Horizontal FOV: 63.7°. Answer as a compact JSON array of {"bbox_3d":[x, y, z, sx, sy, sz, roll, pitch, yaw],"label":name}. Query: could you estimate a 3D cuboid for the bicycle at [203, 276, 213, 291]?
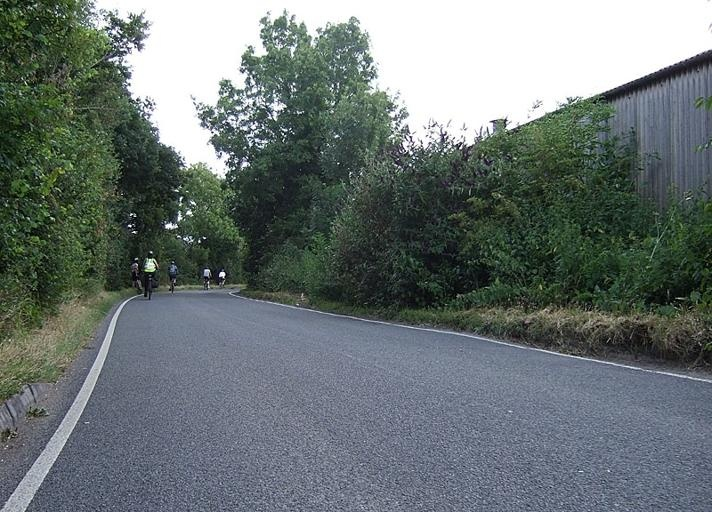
[{"bbox_3d":[-14.279,2.637,55.191,1.089,1.479,2.172,1,2,-10],"label":"bicycle"}]
